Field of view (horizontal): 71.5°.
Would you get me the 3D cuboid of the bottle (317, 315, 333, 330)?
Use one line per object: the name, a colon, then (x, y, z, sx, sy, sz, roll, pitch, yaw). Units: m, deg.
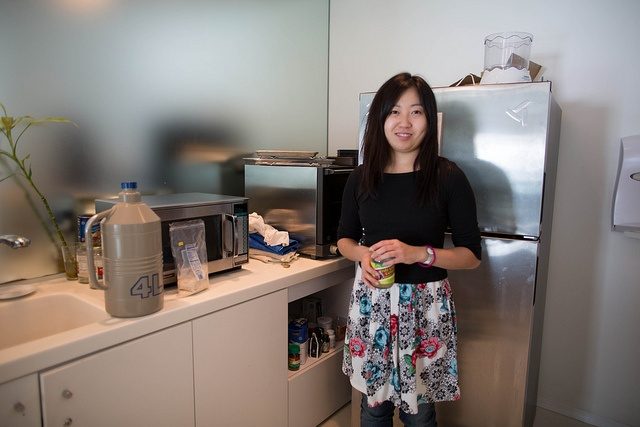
bottle: (0.032, 0.664, 2.711, 0.072, 0.072, 0.071, 4, 11, 17)

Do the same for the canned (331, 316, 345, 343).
canned: (0.116, 0.719, 2.752, 0.095, 0.084, 0.117, 0, 0, 6)

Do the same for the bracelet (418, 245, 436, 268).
bracelet: (0.471, 0.177, 1.914, 0.022, 0.078, 0.080, 14, 44, -22)

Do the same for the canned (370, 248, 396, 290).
canned: (0.269, 0.256, 1.929, 0.110, 0.112, 0.106, -6, 9, 5)

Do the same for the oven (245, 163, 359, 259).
oven: (-0.086, -0.046, 2.700, 0.554, 0.475, 0.431, 4, 9, 29)

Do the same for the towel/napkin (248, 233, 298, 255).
towel/napkin: (-0.266, 0.175, 2.464, 0.176, 0.051, 0.149, 6, 0, 40)

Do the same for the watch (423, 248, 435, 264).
watch: (0.468, 0.185, 1.915, 0.056, 0.078, 0.024, -5, 12, -11)

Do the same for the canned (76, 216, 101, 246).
canned: (-1.088, 0.071, 2.114, 0.119, 0.126, 0.117, -5, 6, -27)

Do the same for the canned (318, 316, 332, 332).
canned: (0.027, 0.668, 2.707, 0.074, 0.074, 0.071, 0, 9, -4)

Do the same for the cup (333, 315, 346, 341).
cup: (0.128, 0.728, 2.780, 0.095, 0.083, 0.116, 0, 3, 6)

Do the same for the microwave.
microwave: (-0.710, 0.111, 2.203, 0.467, 0.406, 0.666, 14, 15, 33)

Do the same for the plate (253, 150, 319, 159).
plate: (-0.195, -0.345, 2.577, 0.363, 0.047, 0.154, 6, 14, 36)

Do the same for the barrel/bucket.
barrel/bucket: (-0.826, 0.155, 1.859, 0.322, 0.523, 0.246, -7, 10, -44)

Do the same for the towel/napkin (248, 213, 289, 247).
towel/napkin: (-0.308, 0.088, 2.491, 0.153, 0.157, 0.317, -10, 14, -35)

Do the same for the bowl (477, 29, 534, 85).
bowl: (0.908, -0.762, 2.173, 0.223, 0.268, 0.309, 2, 12, 21)
